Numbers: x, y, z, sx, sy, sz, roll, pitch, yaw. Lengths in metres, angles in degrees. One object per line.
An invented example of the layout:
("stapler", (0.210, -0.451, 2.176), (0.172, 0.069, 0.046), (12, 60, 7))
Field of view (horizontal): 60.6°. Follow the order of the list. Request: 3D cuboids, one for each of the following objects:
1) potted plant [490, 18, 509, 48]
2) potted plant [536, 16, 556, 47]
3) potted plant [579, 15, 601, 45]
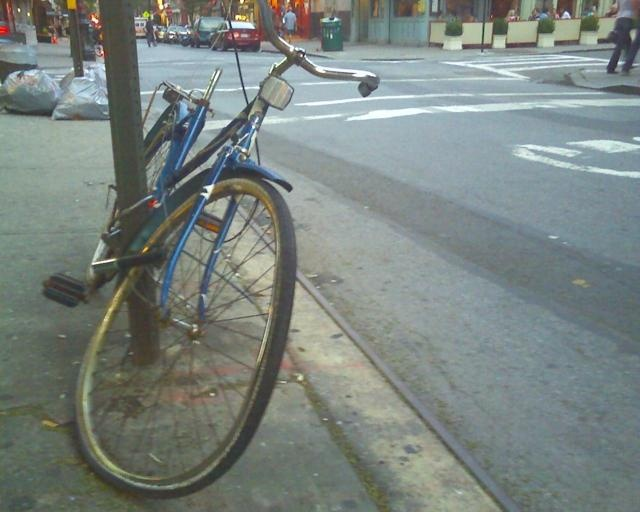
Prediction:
("potted plant", (10.632, -13.298, 32.563), (0.851, 1.594, 0.453), (2, 21, 3))
("potted plant", (13.671, -13.666, 33.268), (1.068, 1.725, 1.243), (19, 27, 39))
("potted plant", (16.878, -14.265, 34.361), (1.186, 1.770, 1.155), (5, 21, 11))
